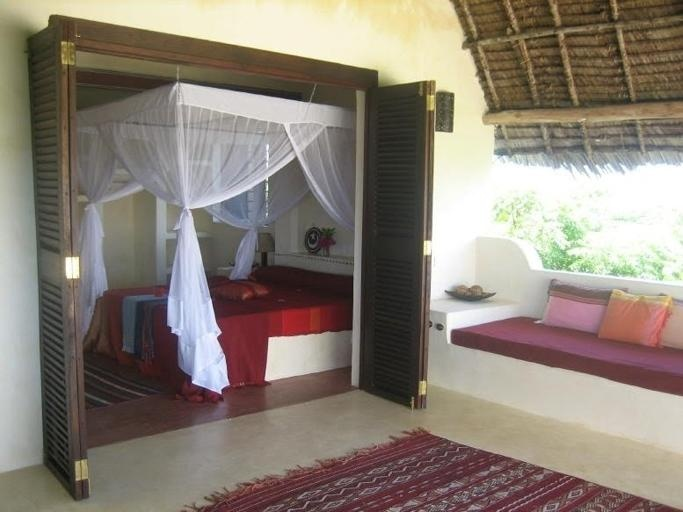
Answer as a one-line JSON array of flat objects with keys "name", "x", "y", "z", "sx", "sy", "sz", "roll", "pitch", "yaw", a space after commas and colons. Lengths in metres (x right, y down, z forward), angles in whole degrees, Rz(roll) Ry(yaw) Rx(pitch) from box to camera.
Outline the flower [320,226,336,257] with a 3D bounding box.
[{"name": "flower", "x": -0.201, "y": -0.183, "z": 6.564, "sx": 0.238, "sy": 0.357, "sz": 0.130, "roll": 8, "pitch": 13, "yaw": 35}]

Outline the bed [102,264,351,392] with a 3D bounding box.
[{"name": "bed", "x": -0.749, "y": 0.633, "z": 4.915, "sx": 1.415, "sy": 0.384, "sz": 1.400, "roll": -4, "pitch": 8, "yaw": -40}]

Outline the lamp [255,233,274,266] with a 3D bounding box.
[{"name": "lamp", "x": -1.146, "y": -0.113, "z": 7.757, "sx": 0.252, "sy": 0.454, "sz": 0.416, "roll": -2, "pitch": 10, "yaw": -9}]

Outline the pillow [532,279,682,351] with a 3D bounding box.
[{"name": "pillow", "x": 2.219, "y": 0.464, "z": 4.313, "sx": 0.401, "sy": 0.397, "sz": 1.122, "roll": -7, "pitch": 12, "yaw": -34}]
